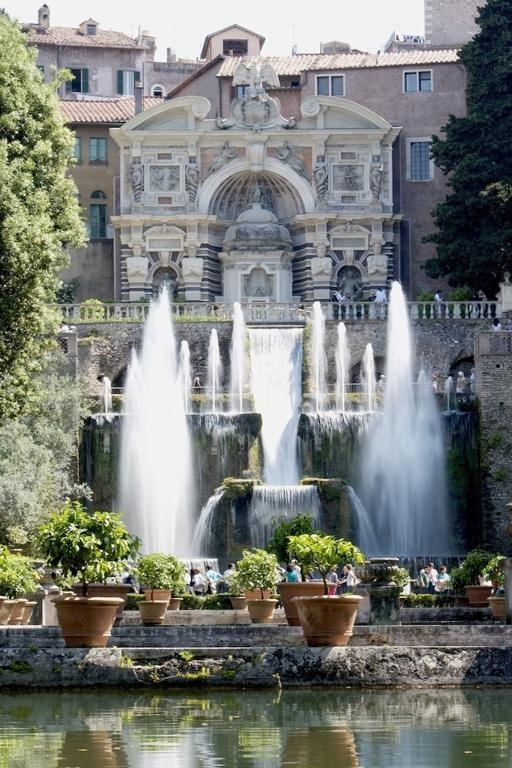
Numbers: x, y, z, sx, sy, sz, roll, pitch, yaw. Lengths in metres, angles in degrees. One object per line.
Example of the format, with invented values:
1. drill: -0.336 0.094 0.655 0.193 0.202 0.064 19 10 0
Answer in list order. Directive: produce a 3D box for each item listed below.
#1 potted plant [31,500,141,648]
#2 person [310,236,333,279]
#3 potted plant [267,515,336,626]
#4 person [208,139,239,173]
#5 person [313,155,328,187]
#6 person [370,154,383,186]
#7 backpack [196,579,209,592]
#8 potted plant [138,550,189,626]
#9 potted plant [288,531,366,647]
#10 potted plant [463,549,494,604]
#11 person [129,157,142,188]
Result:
1. potted plant: -1.769 1.958 17.642 1.206 1.819 1.220 2 -6 -26
2. person: 1.758 -3.264 44.798 0.528 1.107 0.395 -1 -3 13
3. potted plant: 0.550 2.394 22.486 0.495 1.435 0.684 6 6 18
4. person: -0.811 -6.023 45.414 0.769 0.845 0.189 0 -3 -7
5. person: 1.739 -5.659 45.258 0.373 0.875 0.221 -1 -3 -1
6. person: 3.240 -5.702 45.501 0.346 0.872 0.271 -1 -3 3
7. backpack: -0.784 3.099 26.164 0.128 0.186 0.184 6 -16 -20
8. potted plant: -1.190 2.534 21.528 0.691 0.982 0.645 2 -6 -28
9. potted plant: 0.741 2.073 17.187 0.767 1.152 0.692 -14 -19 34
10. potted plant: 3.200 2.808 24.805 0.488 1.110 0.672 1 -5 13
11. person: -3.100 -5.586 45.296 0.347 0.878 0.200 -1 -3 4
